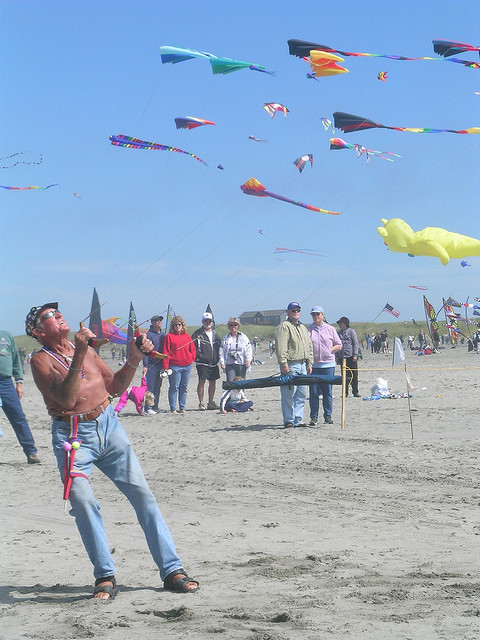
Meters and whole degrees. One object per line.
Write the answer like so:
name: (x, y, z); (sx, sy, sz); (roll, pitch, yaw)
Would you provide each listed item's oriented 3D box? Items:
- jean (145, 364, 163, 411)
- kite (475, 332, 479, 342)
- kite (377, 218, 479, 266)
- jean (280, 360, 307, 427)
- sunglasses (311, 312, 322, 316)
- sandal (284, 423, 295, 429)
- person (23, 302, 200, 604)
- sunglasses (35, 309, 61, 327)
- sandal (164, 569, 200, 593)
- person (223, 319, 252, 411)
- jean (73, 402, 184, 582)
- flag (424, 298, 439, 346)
jean: (-1.514, 1.165, 16.818); (0.304, 0.245, 0.964); (5, -29, -5)
kite: (10.702, 0.809, 43.100); (0.133, 0.388, 0.503); (-6, -3, 13)
kite: (2.421, -1.020, 12.276); (0.553, 0.595, 1.807); (-4, -2, -14)
jean: (0.778, 1.016, 13.167); (0.408, 0.795, 0.519); (-6, -2, 2)
sunglasses: (1.072, -0.074, 13.554); (0.157, 0.065, 0.189); (-3, 0, 2)
sandal: (0.698, 1.461, 13.264); (0.092, 0.039, 0.135); (2, 0, 11)
person: (-0.849, 0.791, 6.143); (0.861, 1.464, 0.798); (-5, -2, -11)
sunglasses: (-1.222, -0.007, 6.089); (0.149, 0.039, 0.133); (-24, 3, 26)
sandal: (-0.351, 1.610, 5.930); (0.116, 0.108, 0.226); (-3, -3, -41)
person: (-0.057, 0.746, 16.269); (0.550, 1.440, 0.479); (-4, 0, 8)
jean: (-0.723, 1.108, 6.166); (0.609, 0.909, 0.386); (-5, -2, -4)
flag: (8.576, 0.306, 42.792); (0.325, 2.779, 0.935); (-32, 50, -15)
